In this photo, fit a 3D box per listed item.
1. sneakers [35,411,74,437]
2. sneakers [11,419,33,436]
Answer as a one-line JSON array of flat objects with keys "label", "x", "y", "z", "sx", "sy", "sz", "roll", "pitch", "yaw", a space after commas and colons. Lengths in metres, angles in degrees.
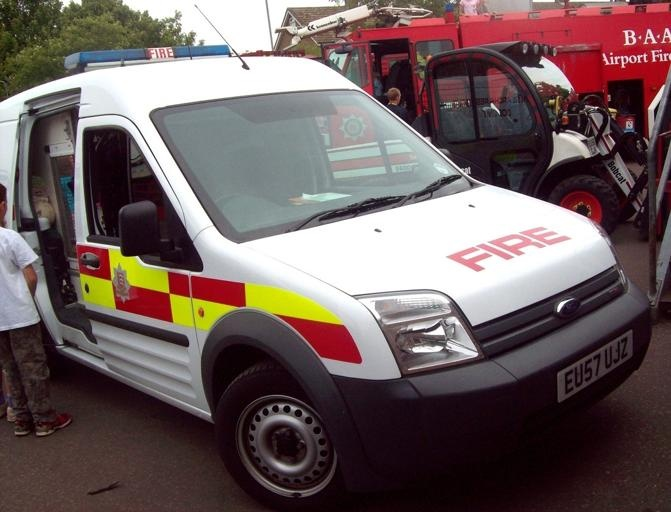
[{"label": "sneakers", "x": -2.088, "y": 1.243, "z": 3.987, "sx": 0.125, "sy": 0.126, "sz": 0.286, "roll": 11, "pitch": 18, "yaw": 33}, {"label": "sneakers", "x": -2.335, "y": 1.275, "z": 3.962, "sx": 0.069, "sy": 0.079, "sz": 0.167, "roll": 1, "pitch": 6, "yaw": -14}]
